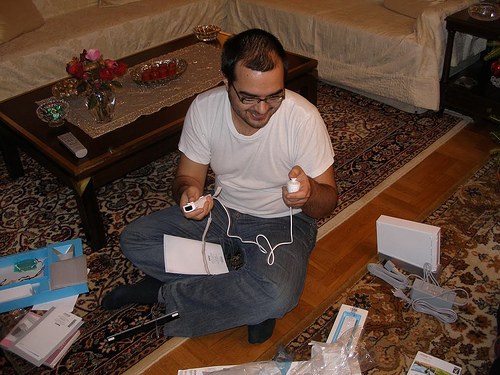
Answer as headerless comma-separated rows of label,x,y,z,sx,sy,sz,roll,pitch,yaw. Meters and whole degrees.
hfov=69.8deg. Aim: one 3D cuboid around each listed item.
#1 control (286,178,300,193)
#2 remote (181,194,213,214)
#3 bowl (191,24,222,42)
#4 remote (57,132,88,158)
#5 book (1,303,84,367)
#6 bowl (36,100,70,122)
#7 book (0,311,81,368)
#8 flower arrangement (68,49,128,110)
control,0.162,-0.013,1.378,0.054,0.074,0.050,5,28,8
remote,-0.226,0.066,1.504,0.064,0.025,0.115,-12,13,47
bowl,-0.373,-1.323,3.055,0.200,0.074,0.195,-3,34,2
remote,-0.986,-0.243,1.986,0.116,0.053,0.199,-29,52,-29
book,-0.958,0.685,1.660,0.227,0.050,0.228,25,47,27
bowl,-1.244,-0.466,2.227,0.166,0.071,0.161,0,32,0
book,-1.054,0.751,1.763,0.212,0.047,0.213,18,47,28
flower arrangement,-0.940,-0.648,2.262,0.293,0.389,0.247,8,40,7
